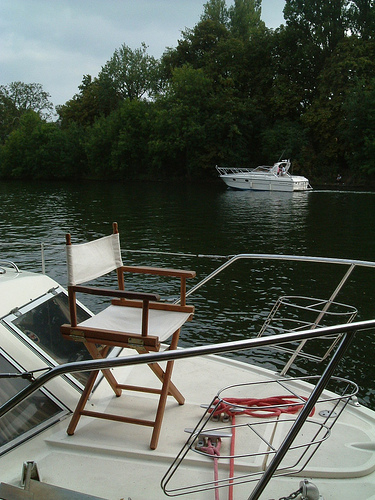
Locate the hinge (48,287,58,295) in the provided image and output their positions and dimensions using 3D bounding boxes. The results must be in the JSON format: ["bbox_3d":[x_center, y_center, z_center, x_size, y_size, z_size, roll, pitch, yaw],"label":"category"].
[{"bbox_3d":[-0.984,0.300,3.710,0.051,0.051,0.044,12,18,18],"label":"hinge"}]

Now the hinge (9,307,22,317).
[{"bbox_3d":[-1.119,0.402,3.309,0.050,0.044,0.040,35,29,13],"label":"hinge"}]

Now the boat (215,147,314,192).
[{"bbox_3d":[5.889,-5.341,35.484,6.180,2.256,6.152,5,12,21],"label":"boat"}]

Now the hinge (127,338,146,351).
[{"bbox_3d":[-0.267,0.480,2.626,0.078,0.072,0.027,0,47,16],"label":"hinge"}]

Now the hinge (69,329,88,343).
[{"bbox_3d":[-0.588,0.458,2.741,0.076,0.066,0.024,14,40,11],"label":"hinge"}]
